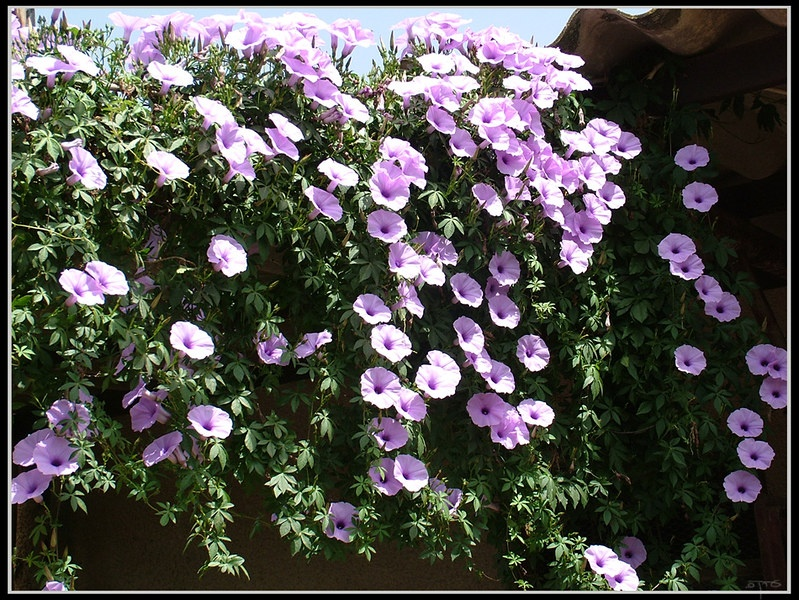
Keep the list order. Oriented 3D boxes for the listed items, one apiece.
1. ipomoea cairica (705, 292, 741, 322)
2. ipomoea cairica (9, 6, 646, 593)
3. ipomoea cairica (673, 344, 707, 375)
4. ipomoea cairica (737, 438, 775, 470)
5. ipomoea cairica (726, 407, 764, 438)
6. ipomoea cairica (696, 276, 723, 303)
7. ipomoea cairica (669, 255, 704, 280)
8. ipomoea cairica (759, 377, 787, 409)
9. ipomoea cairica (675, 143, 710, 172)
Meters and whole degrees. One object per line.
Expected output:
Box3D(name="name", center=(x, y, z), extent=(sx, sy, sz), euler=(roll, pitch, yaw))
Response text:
Box3D(name="ipomoea cairica", center=(1.824, 0.042, 3.925), extent=(0.166, 0.074, 0.180), euler=(-6, 72, -12))
Box3D(name="ipomoea cairica", center=(-0.489, 0.155, 3.393), extent=(2.829, 2.955, 1.550), euler=(6, 28, -16))
Box3D(name="ipomoea cairica", center=(1.559, 0.338, 3.785), extent=(0.152, 0.077, 0.160), euler=(35, 63, 4))
Box3D(name="ipomoea cairica", center=(1.941, 0.875, 3.814), extent=(0.155, 0.080, 0.173), euler=(-7, 67, 1))
Box3D(name="ipomoea cairica", center=(1.898, 0.693, 3.838), extent=(0.161, 0.067, 0.166), euler=(19, 60, 14))
Box3D(name="ipomoea cairica", center=(1.711, -0.051, 3.900), extent=(0.145, 0.066, 0.137), euler=(41, 70, 10))
Box3D(name="ipomoea cairica", center=(1.574, -0.185, 3.797), extent=(0.183, 0.098, 0.113), euler=(0, 31, -26))
Box3D(name="ipomoea cairica", center=(2.081, 0.521, 3.884), extent=(0.152, 0.076, 0.168), euler=(10, 82, -5))
Box3D(name="ipomoea cairica", center=(1.679, -0.824, 3.978), extent=(0.199, 0.139, 0.157), euler=(22, 29, 12))
